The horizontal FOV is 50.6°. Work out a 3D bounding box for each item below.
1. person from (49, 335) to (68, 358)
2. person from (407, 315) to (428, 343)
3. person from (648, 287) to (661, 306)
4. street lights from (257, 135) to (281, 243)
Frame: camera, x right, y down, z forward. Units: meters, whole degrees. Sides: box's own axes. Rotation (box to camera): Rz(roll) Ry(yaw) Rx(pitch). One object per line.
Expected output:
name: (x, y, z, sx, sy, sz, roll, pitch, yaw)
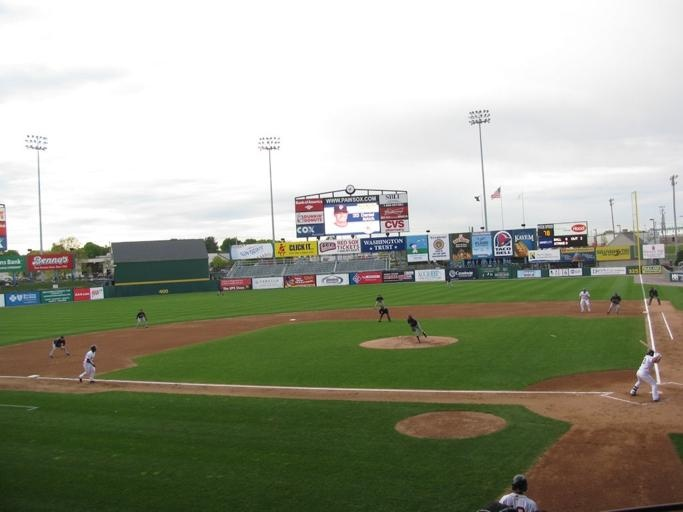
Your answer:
person: (-14.579, 4.694, 37.051, 0.666, 1.000, 0.853, 8, 7, 13)
person: (3.907, 3.832, 37.448, 0.421, 0.414, 1.299, -27, -53, 30)
person: (20.634, 2.688, 47.567, 0.846, 1.315, 0.831, -4, -12, 16)
street lights: (-0.852, -0.743, 8.449, 0.289, 1.264, 0.224, -6, 15, -19)
